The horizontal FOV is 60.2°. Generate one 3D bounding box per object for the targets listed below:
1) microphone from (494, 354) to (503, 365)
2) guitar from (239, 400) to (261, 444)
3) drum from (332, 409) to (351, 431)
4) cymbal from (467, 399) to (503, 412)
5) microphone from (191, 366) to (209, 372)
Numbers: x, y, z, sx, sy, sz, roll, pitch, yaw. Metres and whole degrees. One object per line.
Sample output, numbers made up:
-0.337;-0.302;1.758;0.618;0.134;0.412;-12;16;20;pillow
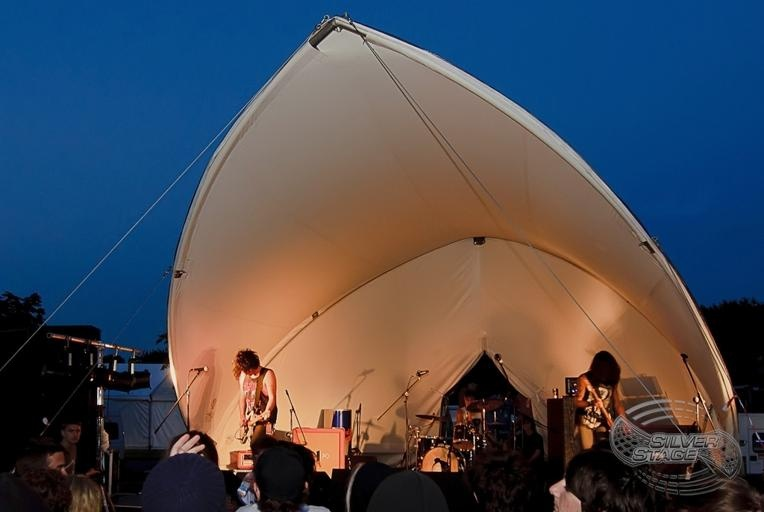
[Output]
2.758;2.456;15.486;0.168;0.129;0.324;6;-48;55;microphone
-2.281;2.874;11.331;0.152;0.530;1.170;13;-19;-10;guitar
-0.855;3.476;13.787;0.366;0.457;0.396;1;-13;-4;drum
2.010;3.014;13.046;0.358;0.094;0.397;-1;-40;0;cymbal
-3.598;2.241;12.879;0.316;0.112;0.101;-5;-6;6;microphone
